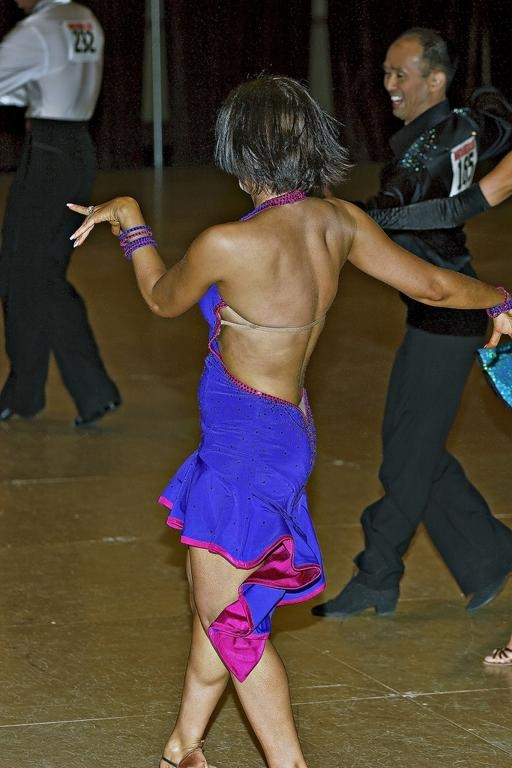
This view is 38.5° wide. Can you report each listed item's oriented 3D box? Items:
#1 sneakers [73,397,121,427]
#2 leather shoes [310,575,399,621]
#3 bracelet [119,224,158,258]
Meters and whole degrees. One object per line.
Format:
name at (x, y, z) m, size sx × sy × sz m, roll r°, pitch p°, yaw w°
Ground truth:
sneakers at (-0.751, 0.149, 3.471) m, size 0.170 × 0.052 × 0.117 m, roll -25°, pitch -16°, yaw -8°
leather shoes at (0.314, 0.650, 2.212) m, size 0.302 × 0.125 × 0.093 m, roll 0°, pitch -1°, yaw -5°
bracelet at (-0.191, -0.227, 1.204) m, size 0.060 × 0.035 × 0.056 m, roll -15°, pitch -4°, yaw 0°
